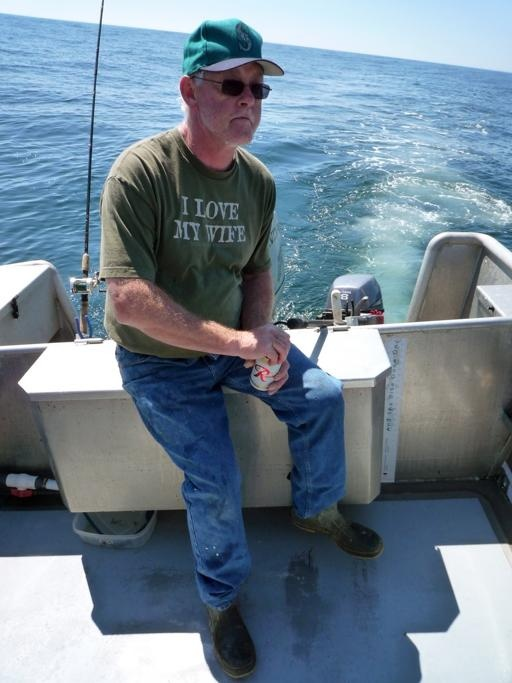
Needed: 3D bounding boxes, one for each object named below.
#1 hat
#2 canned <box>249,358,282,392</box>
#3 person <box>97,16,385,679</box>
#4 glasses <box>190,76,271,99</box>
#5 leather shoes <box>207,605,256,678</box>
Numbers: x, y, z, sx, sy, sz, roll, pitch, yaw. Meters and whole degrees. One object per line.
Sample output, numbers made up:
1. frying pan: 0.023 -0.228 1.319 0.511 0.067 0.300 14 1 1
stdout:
1. hat: -0.079 -0.859 1.682 0.275 0.157 0.318 -13 28 -20
2. canned: 0.024 0.095 1.681 0.084 0.120 0.048 6 24 4
3. person: -0.042 -0.029 1.754 0.745 1.710 0.728 24 31 36
4. glasses: -0.037 -0.745 1.708 0.140 0.055 0.279 23 29 36
5. leather shoes: -0.074 0.871 1.689 0.086 0.092 0.240 -7 1 -10
